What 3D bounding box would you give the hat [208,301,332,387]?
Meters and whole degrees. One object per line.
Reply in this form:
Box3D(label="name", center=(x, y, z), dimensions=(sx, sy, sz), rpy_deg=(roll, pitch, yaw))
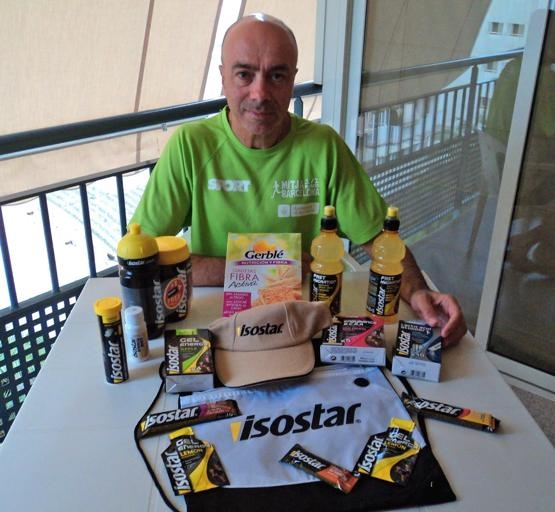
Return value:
Box3D(label="hat", center=(-0.029, 0.173, 1.053), dimensions=(0.244, 0.115, 0.363), rpy_deg=(-8, 11, -14))
